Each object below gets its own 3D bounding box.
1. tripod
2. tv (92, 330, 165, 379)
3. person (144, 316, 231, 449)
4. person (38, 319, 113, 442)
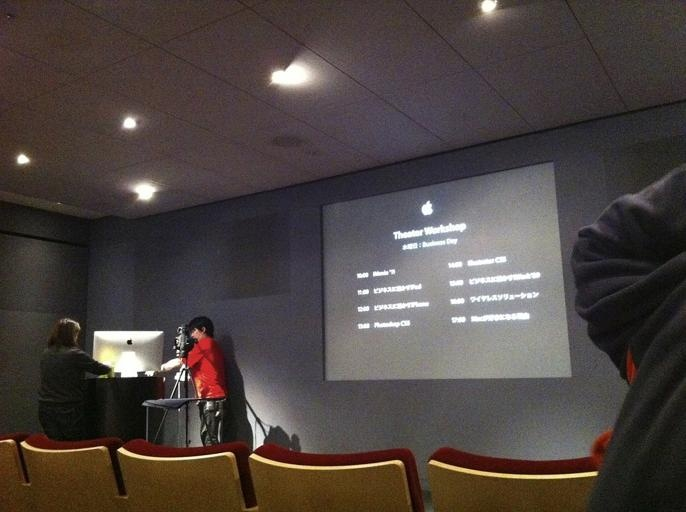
[{"bbox_3d":[-1.728,1.514,5.517,0.560,0.919,0.619,10,-14,4],"label":"tripod"},{"bbox_3d":[-2.315,1.086,5.627,0.711,0.564,0.325,3,-1,-23],"label":"tv"},{"bbox_3d":[-1.673,1.423,5.718,0.913,1.824,0.981,10,-20,-32],"label":"person"},{"bbox_3d":[-2.546,1.173,4.970,0.581,1.134,0.366,4,-9,-32],"label":"person"}]
